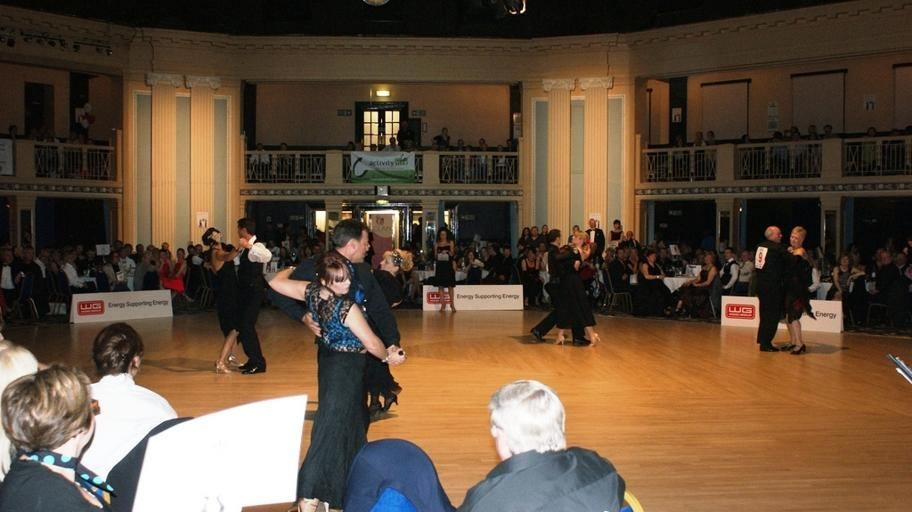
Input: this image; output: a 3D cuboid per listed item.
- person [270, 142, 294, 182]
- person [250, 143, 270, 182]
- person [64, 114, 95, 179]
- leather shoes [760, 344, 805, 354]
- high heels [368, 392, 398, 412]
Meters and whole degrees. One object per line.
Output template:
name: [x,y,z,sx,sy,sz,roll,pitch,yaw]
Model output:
person: [-5.872,-3.311,23.935,0.733,1.190,0.269,-1,8,-4]
person: [-6.685,-3.063,23.600,0.810,1.044,0.436,-1,12,-6]
person: [-12.640,-3.775,23.797,0.701,2.252,0.639,6,4,32]
leather shoes: [6.597,1.863,14.036,0.483,0.201,0.163,5,0,13]
high heels: [-1.070,2.302,10.876,0.567,0.235,0.192,8,-9,-38]
